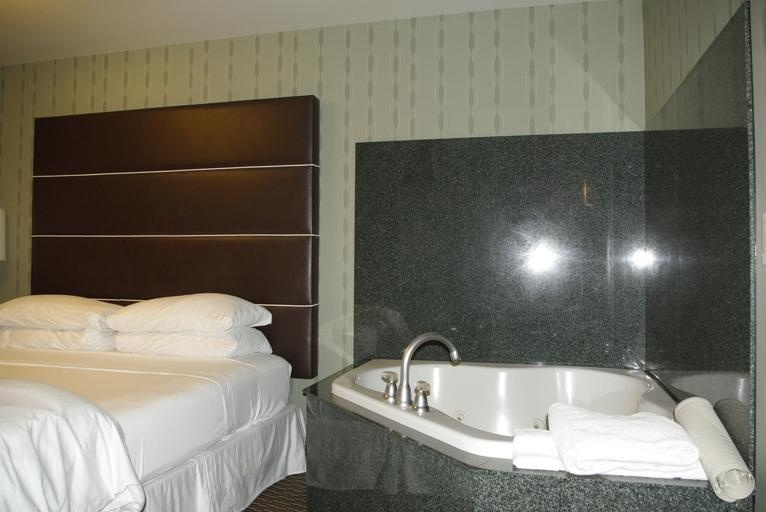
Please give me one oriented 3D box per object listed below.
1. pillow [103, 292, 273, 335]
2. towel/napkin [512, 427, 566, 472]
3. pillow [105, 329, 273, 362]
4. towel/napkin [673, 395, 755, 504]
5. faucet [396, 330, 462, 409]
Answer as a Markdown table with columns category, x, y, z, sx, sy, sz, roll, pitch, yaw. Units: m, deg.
| category | x | y | z | sx | sy | sz | roll | pitch | yaw |
| --- | --- | --- | --- | --- | --- | --- | --- | --- | --- |
| pillow | -1.225 | 0.374 | 3.761 | 0.567 | 0.166 | 0.431 | -3 | -2 | 13 |
| towel/napkin | 0.648 | 0.828 | 2.484 | 0.149 | 0.054 | 0.155 | -3 | 22 | 1 |
| pillow | -1.260 | 0.542 | 3.772 | 0.903 | 0.164 | 0.245 | 1 | 4 | 8 |
| towel/napkin | 1.418 | 0.815 | 2.493 | 0.175 | 0.176 | 0.411 | -24 | 19 | 19 |
| faucet | 0.225 | 0.596 | 2.978 | 0.329 | 0.116 | 0.428 | -5 | 49 | 10 |
